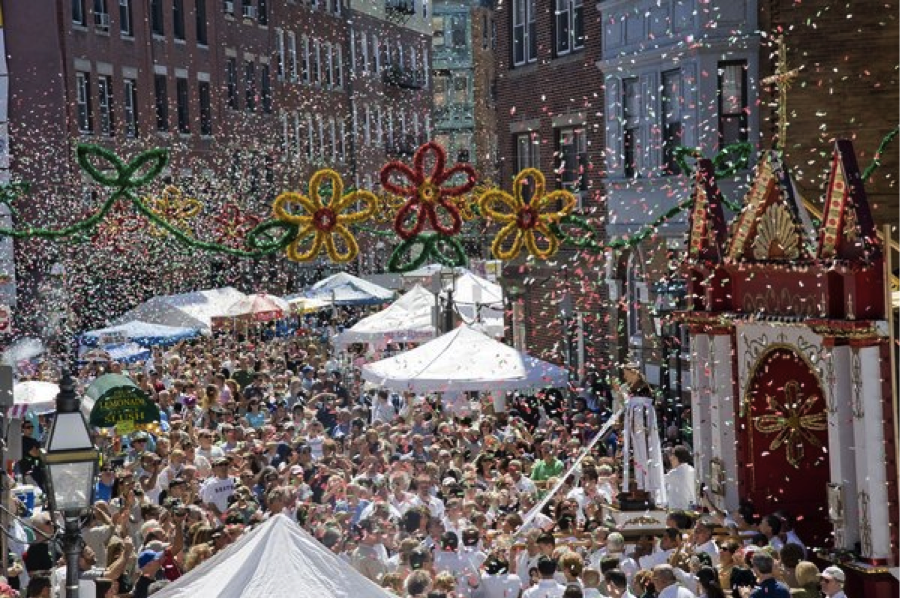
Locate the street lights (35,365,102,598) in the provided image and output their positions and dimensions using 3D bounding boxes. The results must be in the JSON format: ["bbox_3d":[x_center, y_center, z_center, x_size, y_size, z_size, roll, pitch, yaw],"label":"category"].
[{"bbox_3d":[-6.896,3.339,37.748,0.892,3.986,0.909,-6,5,-43],"label":"street lights"}]

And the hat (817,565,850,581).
[{"bbox_3d":[6.953,5.016,38.018,0.370,0.239,0.270,5,-10,-6],"label":"hat"}]

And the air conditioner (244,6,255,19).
[{"bbox_3d":[-7.464,-10.500,76.027,0.377,0.721,0.386,-1,1,-6],"label":"air conditioner"}]
